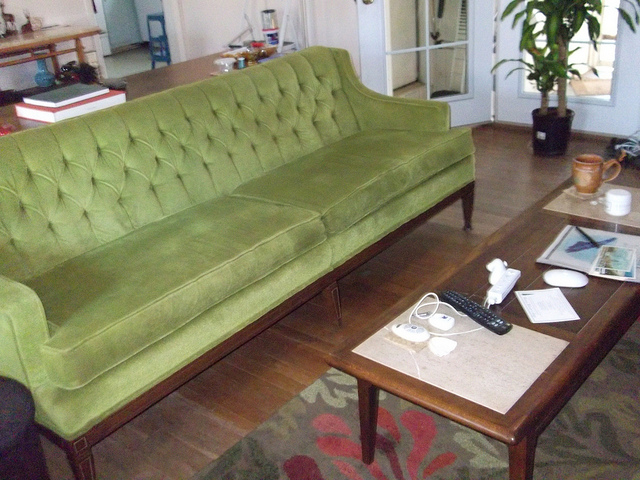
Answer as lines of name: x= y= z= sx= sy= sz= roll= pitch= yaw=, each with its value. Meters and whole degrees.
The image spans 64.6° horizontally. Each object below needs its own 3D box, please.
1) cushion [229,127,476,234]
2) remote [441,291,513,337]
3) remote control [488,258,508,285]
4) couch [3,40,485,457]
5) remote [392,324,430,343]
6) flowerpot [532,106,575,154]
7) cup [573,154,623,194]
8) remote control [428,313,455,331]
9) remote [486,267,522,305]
cushion: x=0.275 y=-0.400 z=2.647 sx=0.609 sy=0.182 sz=1.124 roll=17 pitch=36 yaw=43
remote: x=0.512 y=0.222 z=1.652 sx=0.072 sy=0.031 sz=0.232 roll=-22 pitch=40 yaw=-30
remote control: x=0.622 y=0.113 z=1.801 sx=0.058 sy=0.029 sz=0.086 roll=8 pitch=66 yaw=25
couch: x=-0.304 y=0.047 z=2.180 sx=1.979 sy=0.686 sz=0.822 roll=-32 pitch=45 yaw=-27
remote: x=0.301 y=0.287 z=1.613 sx=0.080 sy=0.019 sz=0.056 roll=20 pitch=26 yaw=32
flowerpot: x=1.712 y=-0.853 z=3.888 sx=0.353 sy=0.291 sz=0.357 roll=1 pitch=20 yaw=8
cup: x=1.244 y=-0.292 z=2.275 sx=0.209 sy=0.141 sz=0.126 roll=0 pitch=26 yaw=17
remote control: x=0.395 y=0.265 z=1.637 sx=0.065 sy=0.022 sz=0.048 roll=14 pitch=29 yaw=29
remote: x=0.647 y=0.141 z=1.794 sx=0.064 sy=0.046 sz=0.215 roll=19 pitch=41 yaw=36
